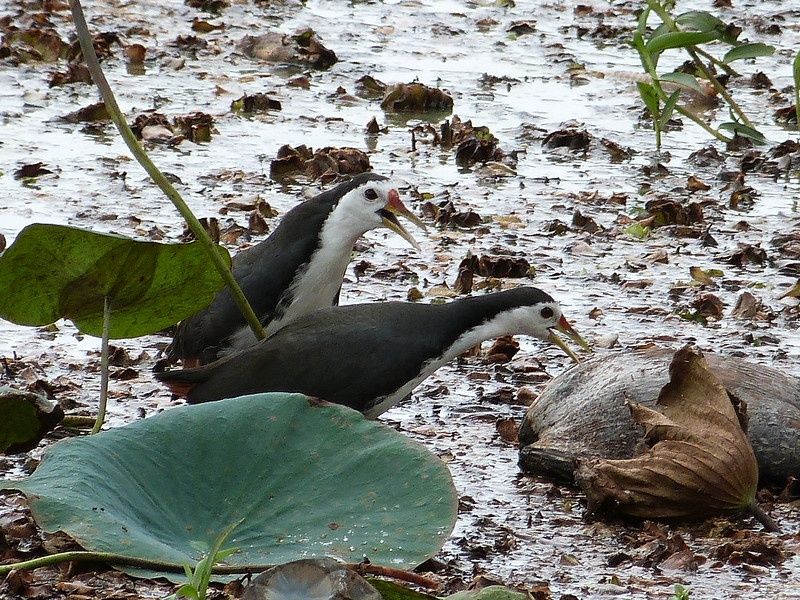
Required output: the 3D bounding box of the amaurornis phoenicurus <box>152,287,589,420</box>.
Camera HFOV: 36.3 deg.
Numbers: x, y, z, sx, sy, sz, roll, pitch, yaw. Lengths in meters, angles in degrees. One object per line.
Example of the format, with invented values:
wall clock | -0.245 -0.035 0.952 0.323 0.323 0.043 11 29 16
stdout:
amaurornis phoenicurus | -0.146 0.296 5.830 2.191 0.687 0.489 1 16 11
